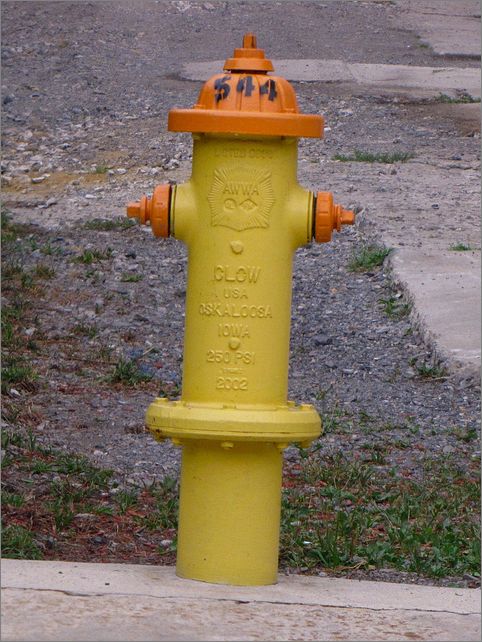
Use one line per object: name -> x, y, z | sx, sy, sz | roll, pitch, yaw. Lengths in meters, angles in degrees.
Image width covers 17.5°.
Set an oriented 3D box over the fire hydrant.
fire hydrant -> -0.011, -0.053, 6.876 | 0.857, 2.383, 0.430 | 4, 6, 3
